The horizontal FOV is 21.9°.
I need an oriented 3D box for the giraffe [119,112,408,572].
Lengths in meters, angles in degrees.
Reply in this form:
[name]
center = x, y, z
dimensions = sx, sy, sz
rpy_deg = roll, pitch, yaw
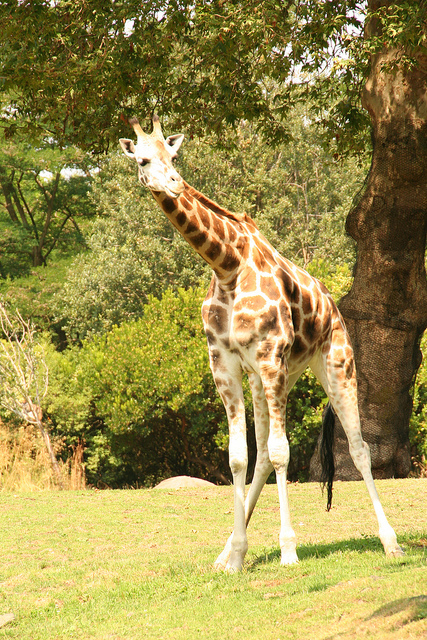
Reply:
[giraffe]
center = 0.417, 0.203, 10.925
dimensions = 2.240, 4.274, 1.167
rpy_deg = -4, 1, -13
